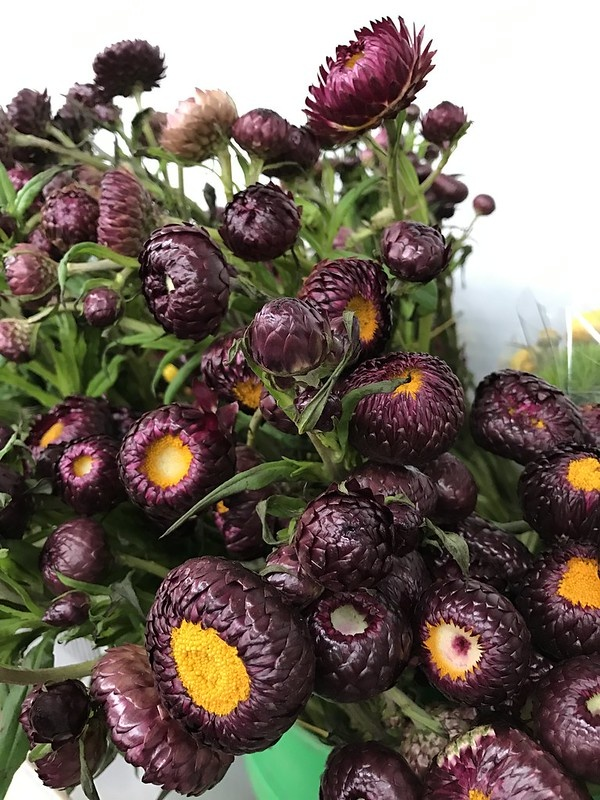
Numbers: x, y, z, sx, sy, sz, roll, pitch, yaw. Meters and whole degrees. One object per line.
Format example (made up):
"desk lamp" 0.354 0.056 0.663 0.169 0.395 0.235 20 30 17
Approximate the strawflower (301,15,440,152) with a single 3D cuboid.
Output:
"strawflower" 0.037 -0.182 0.397 0.071 0.067 0.066 4 29 17

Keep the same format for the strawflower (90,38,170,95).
"strawflower" -0.134 -0.260 0.541 0.045 0.042 0.026 -24 72 8
